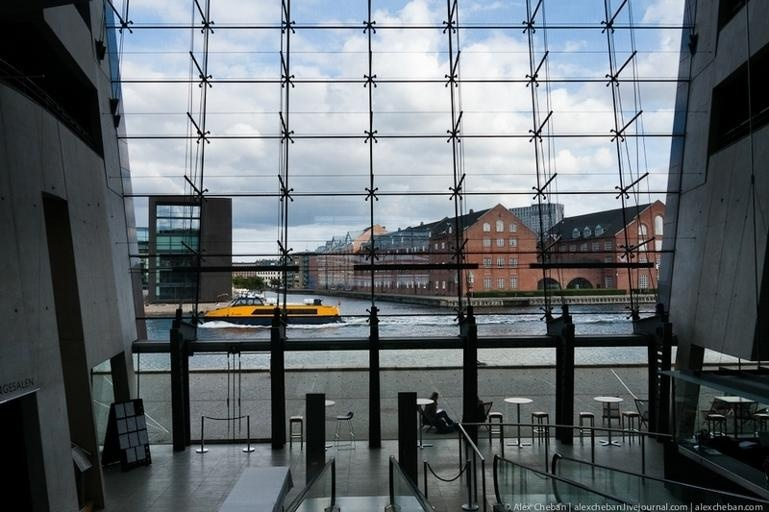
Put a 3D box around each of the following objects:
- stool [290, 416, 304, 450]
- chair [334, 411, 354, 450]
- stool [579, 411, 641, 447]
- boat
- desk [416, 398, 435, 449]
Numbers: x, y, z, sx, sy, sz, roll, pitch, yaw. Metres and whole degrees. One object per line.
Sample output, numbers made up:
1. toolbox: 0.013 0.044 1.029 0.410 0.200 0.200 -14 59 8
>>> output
1. stool: -2.280 4.490 19.476 0.370 0.726 0.906 0 -5 -7
2. chair: -1.048 4.461 19.492 0.522 0.802 0.867 0 -5 -2
3. stool: 5.754 4.437 19.365 1.047 0.717 0.648 0 -6 1
4. boat: -2.998 1.468 20.063 3.736 0.846 0.780 0 -11 -11
5. desk: 1.035 4.262 19.417 0.411 1.198 1.022 -1 -5 3
